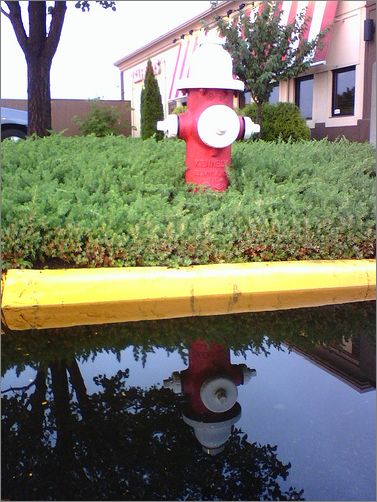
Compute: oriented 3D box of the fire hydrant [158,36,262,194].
[{"bbox_3d":[0.161,-1.355,4.143,0.763,1.530,0.524,1,8,7],"label":"fire hydrant"}]
